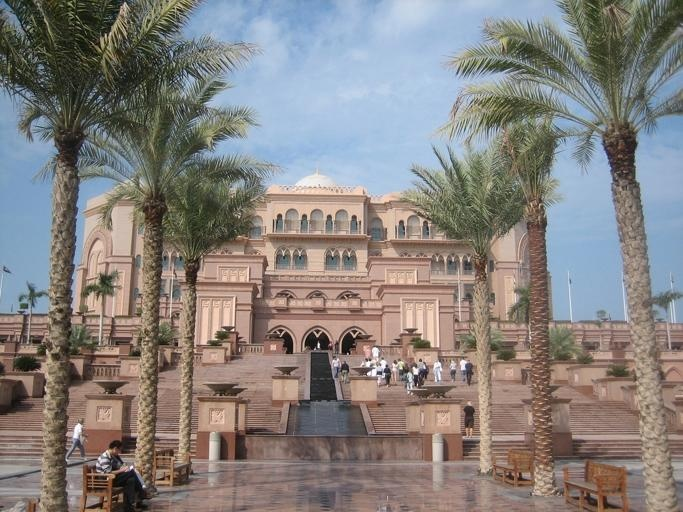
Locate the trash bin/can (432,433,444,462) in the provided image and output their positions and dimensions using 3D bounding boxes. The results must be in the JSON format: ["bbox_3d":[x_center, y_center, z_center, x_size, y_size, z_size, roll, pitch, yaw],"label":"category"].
[{"bbox_3d":[3.476,6.840,24.077,0.467,0.960,0.437,0,-13,-2],"label":"trash bin/can"}]

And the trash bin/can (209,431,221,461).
[{"bbox_3d":[-4.433,6.683,23.691,0.401,0.904,0.283,3,-13,-16],"label":"trash bin/can"}]
